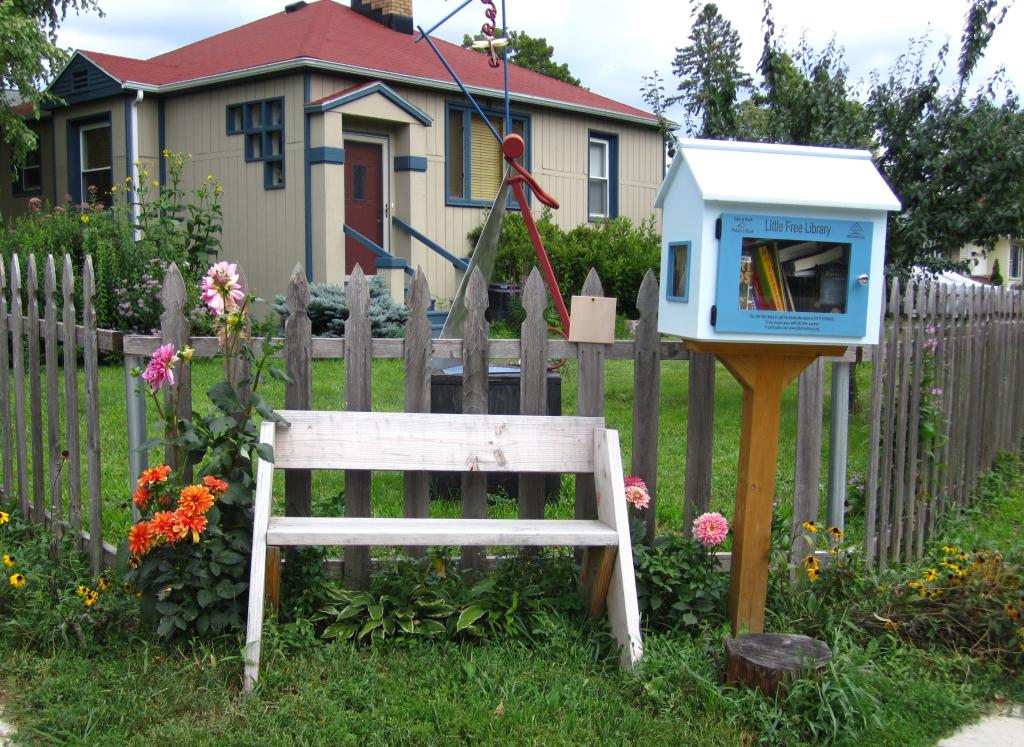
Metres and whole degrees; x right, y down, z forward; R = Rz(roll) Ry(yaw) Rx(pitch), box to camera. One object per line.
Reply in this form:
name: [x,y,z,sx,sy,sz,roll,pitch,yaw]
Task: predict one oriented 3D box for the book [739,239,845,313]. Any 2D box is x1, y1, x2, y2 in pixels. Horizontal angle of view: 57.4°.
book: [1.466,-0.508,4.868,0.570,0.363,0.078,0,4,-6]
